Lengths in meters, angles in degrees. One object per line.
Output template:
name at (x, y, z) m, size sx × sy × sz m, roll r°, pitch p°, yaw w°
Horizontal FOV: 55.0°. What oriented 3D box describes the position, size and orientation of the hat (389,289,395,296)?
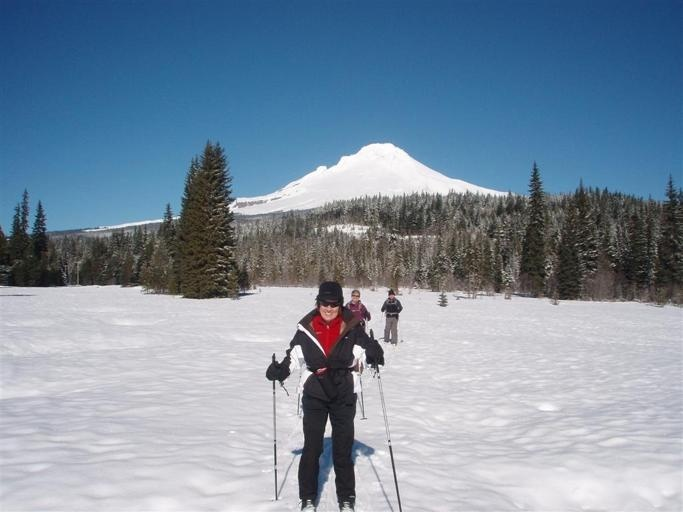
hat at (1.926, 1.430, 25.722) m, size 0.190 × 0.219 × 0.272 m, roll -3°, pitch -12°, yaw 6°
